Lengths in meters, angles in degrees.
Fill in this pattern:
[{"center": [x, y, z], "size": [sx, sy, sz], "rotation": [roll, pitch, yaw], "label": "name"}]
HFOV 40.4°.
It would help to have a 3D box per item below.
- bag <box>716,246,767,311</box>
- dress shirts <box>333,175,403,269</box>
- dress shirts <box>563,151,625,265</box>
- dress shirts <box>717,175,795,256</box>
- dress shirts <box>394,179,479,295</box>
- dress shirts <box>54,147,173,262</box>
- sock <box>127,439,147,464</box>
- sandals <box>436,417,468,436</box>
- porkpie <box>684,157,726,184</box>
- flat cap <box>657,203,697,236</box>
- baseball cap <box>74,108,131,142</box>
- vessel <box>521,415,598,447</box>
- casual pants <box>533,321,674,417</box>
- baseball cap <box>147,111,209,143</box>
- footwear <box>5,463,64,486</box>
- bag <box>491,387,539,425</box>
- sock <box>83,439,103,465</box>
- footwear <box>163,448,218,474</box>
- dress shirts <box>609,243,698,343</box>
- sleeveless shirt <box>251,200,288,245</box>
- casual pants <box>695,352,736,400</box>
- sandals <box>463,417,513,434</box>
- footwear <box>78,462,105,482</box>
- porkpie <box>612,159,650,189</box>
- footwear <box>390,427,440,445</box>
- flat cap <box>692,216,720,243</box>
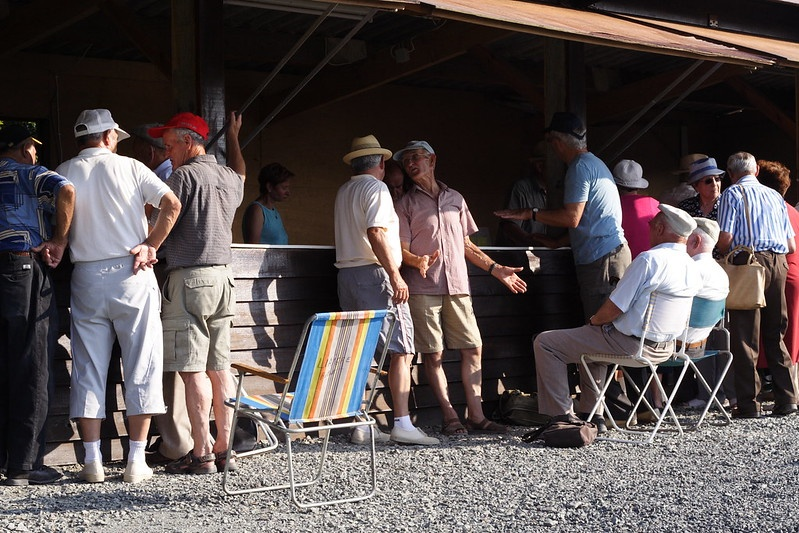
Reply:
[{"center": [3.038, 0.093, 9.757], "size": [0.519, 0.549, 0.221], "rotation": [4, 4, 44], "label": "bag"}, {"center": [-0.267, -0.338, 8.882], "size": [0.546, 0.783, 0.893], "rotation": [-4, 5, -36], "label": "dress shirts"}, {"center": [1.743, -0.527, 9.695], "size": [0.539, 0.874, 0.787], "rotation": [-7, -3, 36], "label": "dress shirts"}, {"center": [3.223, -0.441, 9.849], "size": [0.838, 0.693, 0.416], "rotation": [-1, -4, -28], "label": "dress shirts"}, {"center": [0.342, -0.236, 9.369], "size": [0.789, 0.913, 0.459], "rotation": [-6, 8, -17], "label": "dress shirts"}, {"center": [-2.223, -0.524, 8.224], "size": [1.046, 0.749, 0.451], "rotation": [2, 15, 8], "label": "dress shirts"}, {"center": [-1.943, 1.362, 8.062], "size": [0.159, 0.197, 0.198], "rotation": [-1, 6, -12], "label": "sock"}, {"center": [0.452, 1.354, 9.240], "size": [0.244, 0.156, 0.166], "rotation": [3, 11, 14], "label": "sandals"}, {"center": [2.877, -0.920, 10.282], "size": [0.272, 0.116, 0.258], "rotation": [-11, 8, 28], "label": "porkpie"}, {"center": [2.234, -0.376, 8.821], "size": [0.264, 0.093, 0.237], "rotation": [44, 35, 20], "label": "flat cap"}, {"center": [-2.253, -1.068, 8.203], "size": [0.388, 0.173, 0.243], "rotation": [-7, 10, -44], "label": "baseball cap"}, {"center": [1.298, 1.333, 8.822], "size": [0.583, 0.233, 0.189], "rotation": [1, 11, 2], "label": "vessel"}, {"center": [1.723, 0.774, 9.328], "size": [1.146, 1.083, 1.419], "rotation": [2, 9, 5], "label": "casual pants"}, {"center": [-1.715, -1.098, 8.386], "size": [0.386, 0.179, 0.239], "rotation": [11, 6, -1], "label": "baseball cap"}, {"center": [-2.689, 1.536, 7.977], "size": [0.391, 0.157, 0.148], "rotation": [-2, 6, -26], "label": "footwear"}, {"center": [1.051, 1.243, 9.709], "size": [0.429, 0.263, 0.366], "rotation": [5, 1, -19], "label": "bag"}, {"center": [-2.295, 1.364, 8.065], "size": [0.113, 0.179, 0.148], "rotation": [-4, 12, -19], "label": "sock"}, {"center": [-1.600, 1.479, 8.276], "size": [0.367, 0.140, 0.164], "rotation": [3, -2, 15], "label": "footwear"}, {"center": [2.145, 0.188, 8.944], "size": [0.928, 0.740, 0.497], "rotation": [7, 11, -35], "label": "dress shirts"}, {"center": [-1.219, -0.417, 10.104], "size": [0.287, 0.388, 0.414], "rotation": [-1, 11, -7], "label": "sleeveless shirt"}, {"center": [2.926, 1.111, 10.169], "size": [0.389, 0.472, 0.315], "rotation": [-13, -3, 9], "label": "casual pants"}, {"center": [0.738, 1.357, 9.295], "size": [0.371, 0.096, 0.140], "rotation": [-3, -1, 20], "label": "sandals"}, {"center": [-2.296, 1.517, 8.041], "size": [0.189, 0.152, 0.123], "rotation": [-3, 12, -17], "label": "footwear"}, {"center": [2.121, -0.852, 10.176], "size": [0.270, 0.154, 0.313], "rotation": [-14, 32, -24], "label": "porkpie"}, {"center": [0.119, 1.410, 9.020], "size": [0.412, 0.141, 0.144], "rotation": [4, -4, -2], "label": "footwear"}, {"center": [2.565, -0.334, 9.245], "size": [0.213, 0.101, 0.256], "rotation": [20, 4, -39], "label": "flat cap"}]
